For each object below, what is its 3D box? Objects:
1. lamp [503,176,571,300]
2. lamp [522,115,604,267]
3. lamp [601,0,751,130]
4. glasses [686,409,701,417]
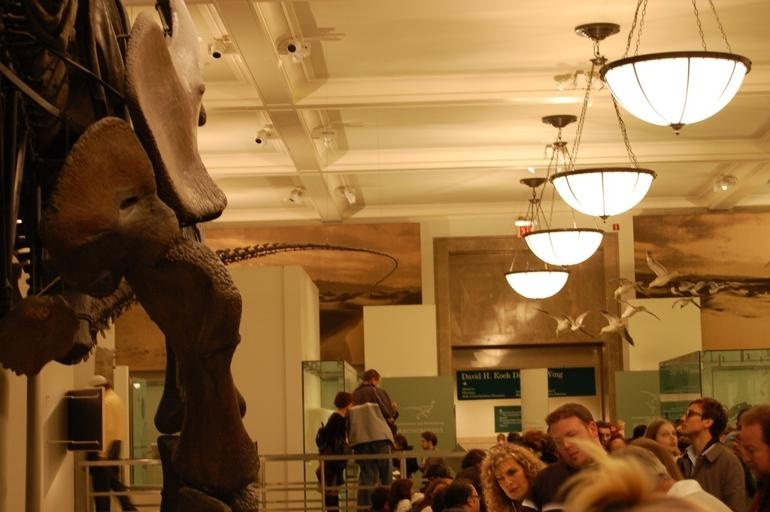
[{"bbox_3d":[2.797,-0.359,16.107,1.165,2.074,1.091,-2,0,-42],"label":"lamp"},{"bbox_3d":[2.586,-0.933,13.120,1.315,2.196,1.246,-2,4,6],"label":"lamp"},{"bbox_3d":[2.595,-1.345,8.139,1.167,1.441,1.212,0,-20,10],"label":"lamp"},{"bbox_3d":[2.311,1.169,6.736,0.049,0.056,0.133,4,-18,-22],"label":"glasses"}]
